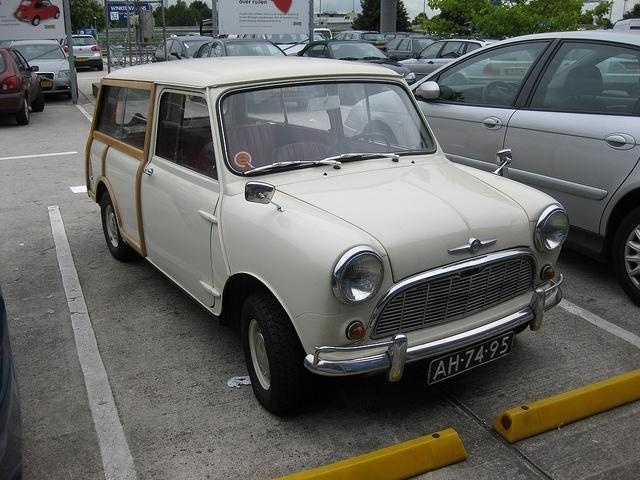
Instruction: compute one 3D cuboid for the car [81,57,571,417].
[{"bbox_3d":[-0.321,-0.229,3.638,2.011,1.818,3.844,-16,31,-33],"label":"car"}]
